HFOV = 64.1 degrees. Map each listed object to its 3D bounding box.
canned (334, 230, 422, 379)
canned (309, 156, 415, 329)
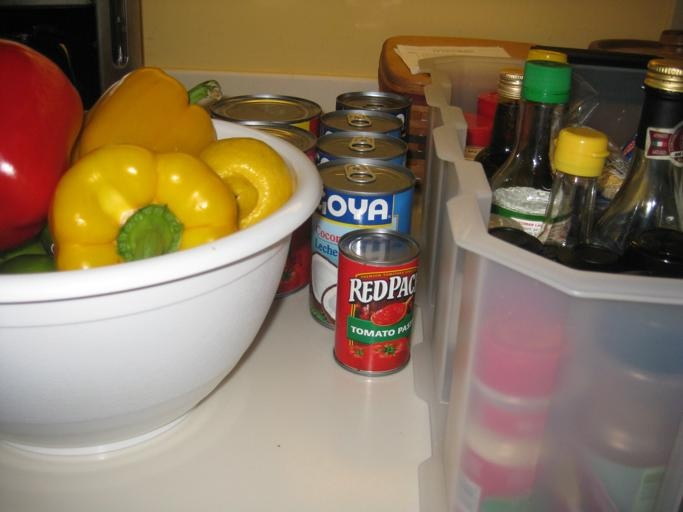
[{"bbox_3d":[0.040,0.058,0.658,0.100,0.168,0.063,0,24,1],"label":"canned"},{"bbox_3d":[0.026,-0.018,0.653,0.122,0.192,0.119,27,42,32],"label":"canned"}]
